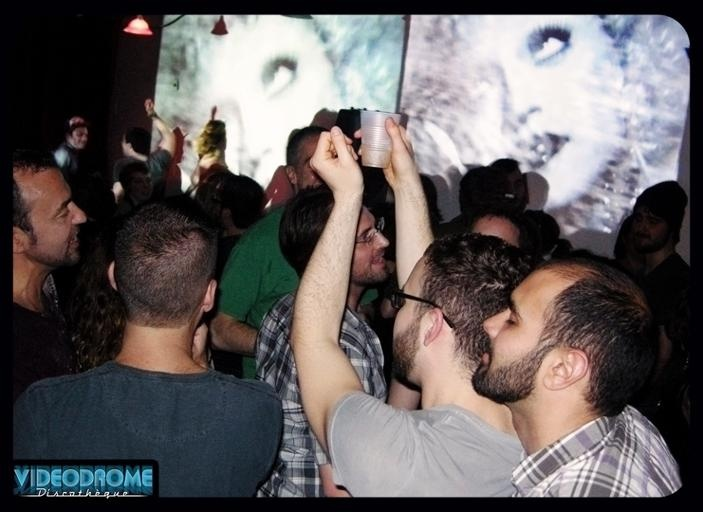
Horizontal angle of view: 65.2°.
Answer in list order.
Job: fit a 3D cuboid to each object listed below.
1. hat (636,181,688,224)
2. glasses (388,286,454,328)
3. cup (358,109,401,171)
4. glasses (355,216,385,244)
[{"bbox_3d":[2.240,-0.394,3.925,0.372,0.321,0.268,2,8,-5],"label":"hat"},{"bbox_3d":[0.276,0.207,2.324,0.177,0.051,0.171,16,7,35],"label":"glasses"},{"bbox_3d":[0.088,-0.512,2.471,0.243,0.238,0.233,2,3,0],"label":"cup"},{"bbox_3d":[0.099,-0.127,3.000,0.149,0.043,0.145,-14,9,30],"label":"glasses"}]
